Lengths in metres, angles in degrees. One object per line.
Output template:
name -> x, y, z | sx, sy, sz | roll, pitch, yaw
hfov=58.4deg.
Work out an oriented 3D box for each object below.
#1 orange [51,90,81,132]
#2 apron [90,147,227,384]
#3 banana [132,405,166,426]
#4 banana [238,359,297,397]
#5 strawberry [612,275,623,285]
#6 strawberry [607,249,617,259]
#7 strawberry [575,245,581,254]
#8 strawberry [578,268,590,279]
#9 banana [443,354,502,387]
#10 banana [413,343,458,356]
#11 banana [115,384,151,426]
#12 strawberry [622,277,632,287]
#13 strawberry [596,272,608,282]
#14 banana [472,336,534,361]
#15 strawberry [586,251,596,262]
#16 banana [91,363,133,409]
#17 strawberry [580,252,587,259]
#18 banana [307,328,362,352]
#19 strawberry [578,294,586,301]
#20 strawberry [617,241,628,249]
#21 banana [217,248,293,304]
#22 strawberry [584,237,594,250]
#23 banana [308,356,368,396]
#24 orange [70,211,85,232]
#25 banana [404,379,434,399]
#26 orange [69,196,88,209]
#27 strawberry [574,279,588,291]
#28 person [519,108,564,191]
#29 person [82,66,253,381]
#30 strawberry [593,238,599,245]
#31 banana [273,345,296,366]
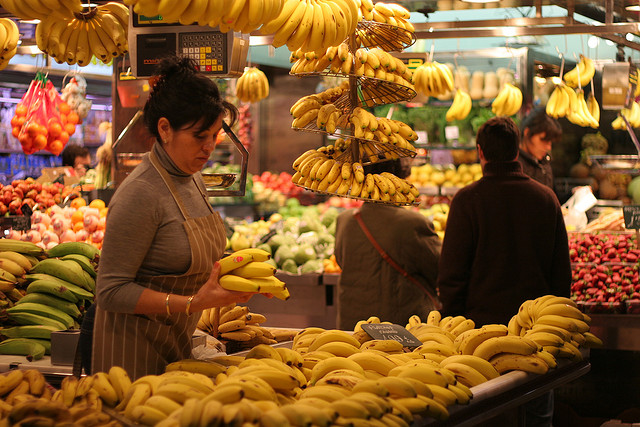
orange -> -2.469, -1.014, 5.670 | 0.195, 0.335, 0.266 | -37, 15, -1
apron -> -0.925, 0.377, 2.980 | 0.425, 1.338, 0.392 | 26, -2, -12
banana -> -0.665, 0.794, 2.238 | 0.146, 0.063, 0.031 | 4, 9, 18
banana -> -0.216, 0.676, 2.340 | 0.238, 0.080, 0.065 | 13, 22, 17
strawberry -> 2.391, 0.533, 4.607 | 0.073, 0.069, 0.037 | 5, 9, 23
strawberry -> 2.401, 0.332, 4.716 | 0.056, 0.077, 0.040 | -16, -21, 14
strawberry -> 2.169, 0.298, 4.811 | 0.039, 0.043, 0.023 | -7, -20, 1
strawberry -> 2.156, 0.489, 4.687 | 0.087, 0.084, 0.034 | -2, 9, -18
banana -> 0.724, 0.744, 2.690 | 0.250, 0.123, 0.064 | 12, -47, -39
banana -> 0.588, 0.689, 2.883 | 0.222, 0.058, 0.111 | 2, 9, 4
banana -> -0.757, 0.777, 2.334 | 0.107, 0.118, 0.076 | -13, 6, -44
strawberry -> 2.452, 0.553, 4.588 | 0.069, 0.065, 0.032 | -1, 9, -16
strawberry -> 2.283, 0.512, 4.644 | 0.080, 0.042, 0.034 | 36, -1, 37
banana -> 0.884, 0.639, 2.761 | 0.254, 0.120, 0.061 | -7, -25, 19
strawberry -> 2.239, 0.358, 4.740 | 0.057, 0.074, 0.059 | 4, 9, 21
banana -> -0.884, 0.725, 2.446 | 0.140, 0.052, 0.187 | -16, 26, -26
strawberry -> 2.194, 0.352, 4.770 | 0.050, 0.028, 0.051 | -1, -2, 26
banana -> 0.087, 0.636, 2.927 | 0.169, 0.047, 0.133 | 1, 3, -30
strawberry -> 2.116, 0.680, 4.629 | 0.055, 0.041, 0.026 | 3, 9, 14
strawberry -> 2.502, 0.261, 4.746 | 0.076, 0.059, 0.033 | 2, 8, 8
banana -> -0.321, 0.291, 2.773 | 0.415, 0.204, 0.168 | 21, -7, 19
strawberry -> 2.260, 0.250, 4.828 | 0.062, 0.081, 0.049 | -20, -29, 8
banana -> 0.076, 0.699, 2.484 | 0.153, 0.058, 0.186 | 14, 16, 27
orange -> -2.109, 0.068, 5.011 | 0.139, 0.167, 0.141 | -3, -7, 7
banana -> 0.419, 0.729, 2.384 | 0.113, 0.069, 0.053 | 0, 8, -7
orange -> -2.235, -0.107, 5.319 | 0.139, 0.166, 0.136 | -3, 0, -12
strawberry -> 2.116, 0.585, 4.656 | 0.054, 0.107, 0.047 | 43, 7, 12
person -> 2.265, -0.681, 5.891 | 0.479, 0.866, 0.891 | -7, 6, 30
person -> -0.784, 0.086, 2.813 | 0.732, 1.609, 0.679 | -3, 9, -24
strawberry -> 2.323, 0.233, 4.823 | 0.044, 0.044, 0.051 | 5, 10, 26
banana -> -0.155, 0.656, 2.637 | 0.097, 0.054, 0.097 | -1, 9, -12
